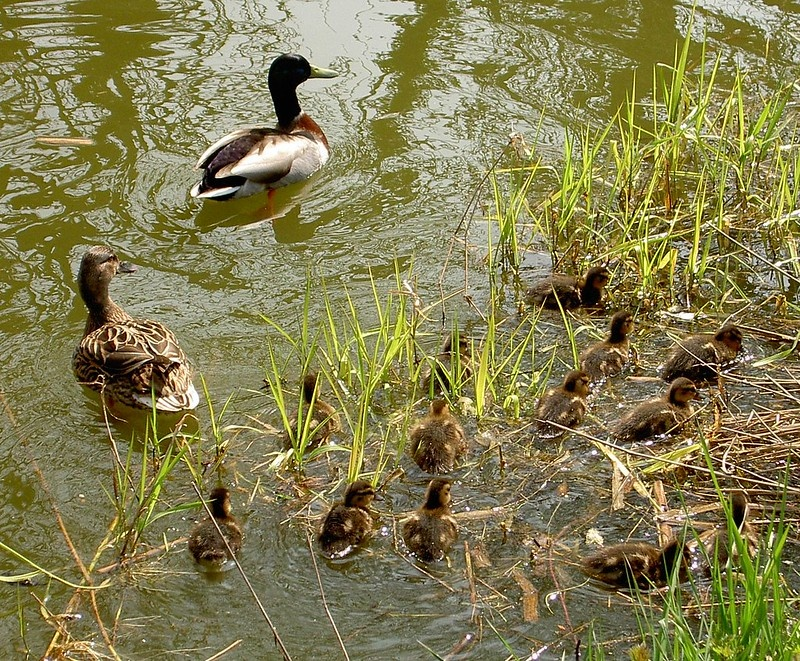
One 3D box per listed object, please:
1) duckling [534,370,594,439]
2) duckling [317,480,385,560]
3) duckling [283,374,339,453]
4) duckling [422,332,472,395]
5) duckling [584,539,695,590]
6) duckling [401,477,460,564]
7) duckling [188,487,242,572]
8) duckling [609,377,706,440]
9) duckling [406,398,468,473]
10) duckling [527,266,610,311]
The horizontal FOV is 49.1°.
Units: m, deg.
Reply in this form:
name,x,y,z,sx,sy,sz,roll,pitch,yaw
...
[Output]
name,x,y,z,sx,sy,sz,roll,pitch,yaw
duckling,1.099,0.474,5.939,0.289,0.252,0.543,19,45,34
duckling,-0.331,1.058,5.181,0.272,0.309,0.467,17,38,28
duckling,-0.592,0.534,6.021,0.374,0.408,0.609,-24,3,10
duckling,0.364,0.202,6.368,0.270,0.304,0.525,19,56,23
duckling,1.321,1.268,4.834,0.562,0.229,0.261,-1,12,10
duckling,0.206,1.134,5.137,0.300,0.218,0.541,3,39,9
duckling,-1.069,1.170,5.120,0.308,0.343,0.488,2,23,-6
duckling,1.726,0.538,5.872,0.631,0.399,0.317,-18,30,0
duckling,0.238,0.719,5.772,0.325,0.237,0.582,4,39,10
duckling,1.360,-0.347,7.049,0.530,0.321,0.337,0,30,-2
